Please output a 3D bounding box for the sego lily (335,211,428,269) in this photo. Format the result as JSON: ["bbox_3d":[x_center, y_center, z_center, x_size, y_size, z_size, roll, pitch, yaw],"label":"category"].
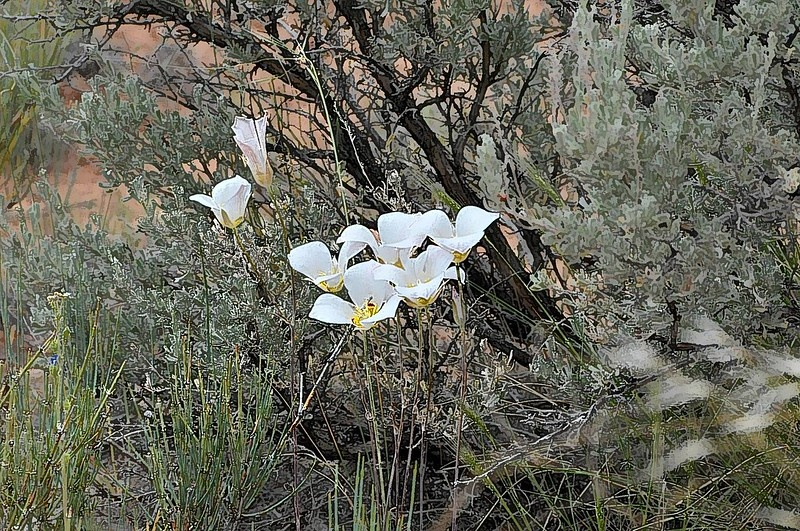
[{"bbox_3d":[-0.021,-0.075,1.898,0.159,0.169,0.078,-14,-55,14],"label":"sego lily"}]

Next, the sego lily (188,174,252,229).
[{"bbox_3d":[-0.454,-0.168,2.086,0.143,0.111,0.181,-14,3,-4],"label":"sego lily"}]

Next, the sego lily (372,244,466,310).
[{"bbox_3d":[0.049,0.027,1.884,0.179,0.170,0.088,-47,-38,-34],"label":"sego lily"}]

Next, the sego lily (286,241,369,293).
[{"bbox_3d":[-0.212,0.011,1.938,0.152,0.145,0.065,-47,-35,-37],"label":"sego lily"}]

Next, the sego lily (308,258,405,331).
[{"bbox_3d":[-0.100,0.103,1.906,0.192,0.189,0.098,-33,-26,12],"label":"sego lily"}]
